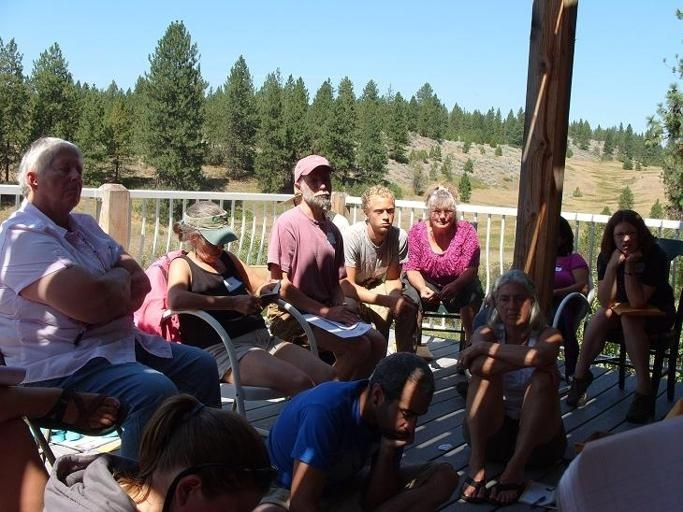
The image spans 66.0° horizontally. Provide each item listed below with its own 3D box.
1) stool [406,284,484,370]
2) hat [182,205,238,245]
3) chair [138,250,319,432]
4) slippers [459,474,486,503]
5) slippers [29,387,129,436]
[{"bbox_3d":[0.905,0.576,4.480,0.513,1.093,0.671,1,-3,1],"label":"stool"},{"bbox_3d":[-0.780,-0.207,3.085,0.367,0.236,0.276,12,16,40],"label":"hat"},{"bbox_3d":[-0.538,0.304,3.241,0.935,1.403,0.862,1,3,31],"label":"chair"},{"bbox_3d":[0.640,1.130,2.549,0.112,0.108,0.355,1,-4,13],"label":"slippers"},{"bbox_3d":[-0.965,0.589,1.968,0.326,0.145,0.108,2,-13,-17],"label":"slippers"}]
